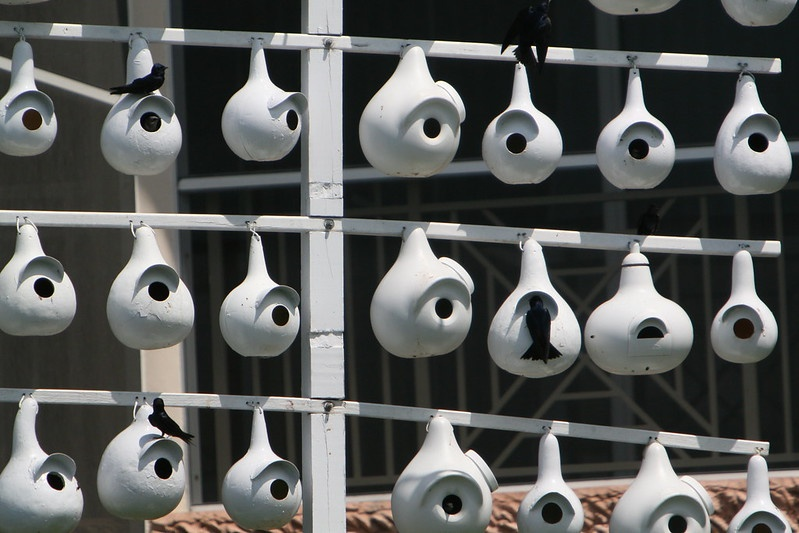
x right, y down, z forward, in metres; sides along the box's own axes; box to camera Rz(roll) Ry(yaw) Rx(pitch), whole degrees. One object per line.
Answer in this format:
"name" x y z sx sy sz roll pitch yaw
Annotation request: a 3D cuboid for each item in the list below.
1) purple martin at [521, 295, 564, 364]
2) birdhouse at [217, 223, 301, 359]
"purple martin" 0.697 0.339 14.625 0.155 0.121 0.317 -2 -103 8
"birdhouse" -0.634 0.187 14.715 0.397 0.410 0.576 14 -63 -6
